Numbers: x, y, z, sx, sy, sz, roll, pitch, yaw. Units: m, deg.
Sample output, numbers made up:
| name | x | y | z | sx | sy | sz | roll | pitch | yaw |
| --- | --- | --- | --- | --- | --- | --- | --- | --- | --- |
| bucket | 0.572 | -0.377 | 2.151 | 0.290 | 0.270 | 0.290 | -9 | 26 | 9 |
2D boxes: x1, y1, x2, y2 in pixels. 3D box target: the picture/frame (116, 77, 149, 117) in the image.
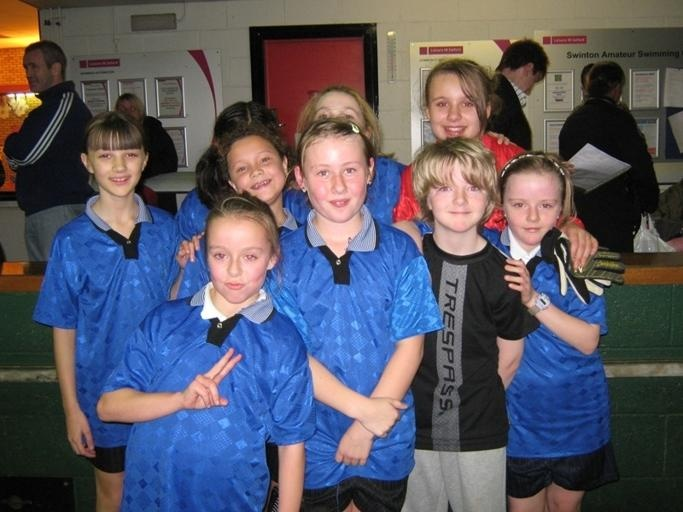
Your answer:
| name | x | y | z | sx | sy | sz | roll | pitch | yaw |
| --- | --- | --- | --- | --- | --- | --- | --- | --- | --- |
| picture/frame | -2.048 | -1.632 | 6.366 | 0.280 | 0.035 | 0.486 | -2 | 40 | -22 |

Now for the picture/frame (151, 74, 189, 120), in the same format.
| name | x | y | z | sx | sy | sz | roll | pitch | yaw |
| --- | --- | --- | --- | --- | --- | --- | --- | --- | --- |
| picture/frame | -1.698 | -1.599 | 6.415 | 0.341 | 0.420 | 0.047 | 0 | 8 | 10 |

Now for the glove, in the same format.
| name | x | y | z | sx | sy | sz | roll | pitch | yaw |
| --- | --- | --- | --- | --- | --- | --- | --- | --- | --- |
| glove | 0.995 | 0.069 | 2.813 | 0.349 | 0.150 | 0.327 | 6 | 48 | -24 |

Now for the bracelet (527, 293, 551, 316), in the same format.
| name | x | y | z | sx | sy | sz | roll | pitch | yaw |
| --- | --- | --- | --- | --- | --- | --- | --- | --- | --- |
| bracelet | 0.825 | 0.201 | 2.686 | 0.065 | 0.042 | 0.070 | -35 | -1 | 30 |
